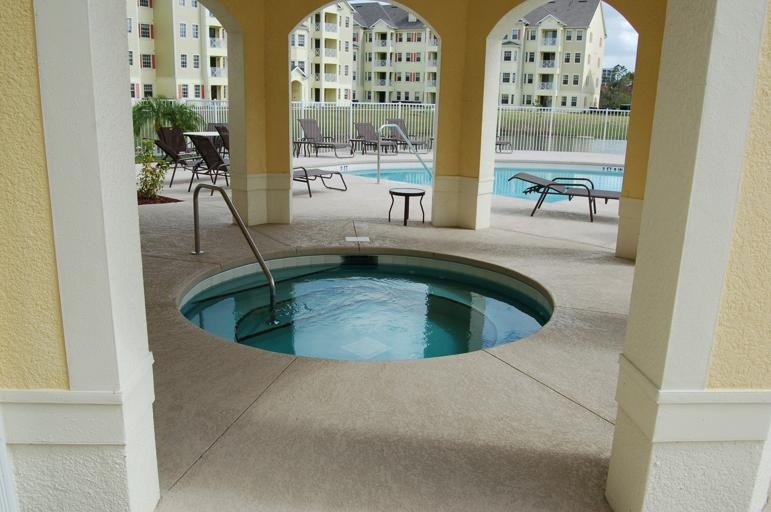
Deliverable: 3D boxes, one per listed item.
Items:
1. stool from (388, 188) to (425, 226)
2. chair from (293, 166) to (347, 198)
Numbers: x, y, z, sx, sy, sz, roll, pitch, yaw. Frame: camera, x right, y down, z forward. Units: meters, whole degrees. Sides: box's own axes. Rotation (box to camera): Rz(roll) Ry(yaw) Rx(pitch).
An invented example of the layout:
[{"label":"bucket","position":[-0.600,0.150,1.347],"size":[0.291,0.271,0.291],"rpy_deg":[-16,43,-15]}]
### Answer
[{"label":"stool","position":[0.360,-0.793,8.361],"size":[0.600,0.462,0.632],"rpy_deg":[1,3,-4]},{"label":"chair","position":[-1.437,-1.608,11.507],"size":[1.151,0.512,0.816],"rpy_deg":[-5,18,-35]}]
